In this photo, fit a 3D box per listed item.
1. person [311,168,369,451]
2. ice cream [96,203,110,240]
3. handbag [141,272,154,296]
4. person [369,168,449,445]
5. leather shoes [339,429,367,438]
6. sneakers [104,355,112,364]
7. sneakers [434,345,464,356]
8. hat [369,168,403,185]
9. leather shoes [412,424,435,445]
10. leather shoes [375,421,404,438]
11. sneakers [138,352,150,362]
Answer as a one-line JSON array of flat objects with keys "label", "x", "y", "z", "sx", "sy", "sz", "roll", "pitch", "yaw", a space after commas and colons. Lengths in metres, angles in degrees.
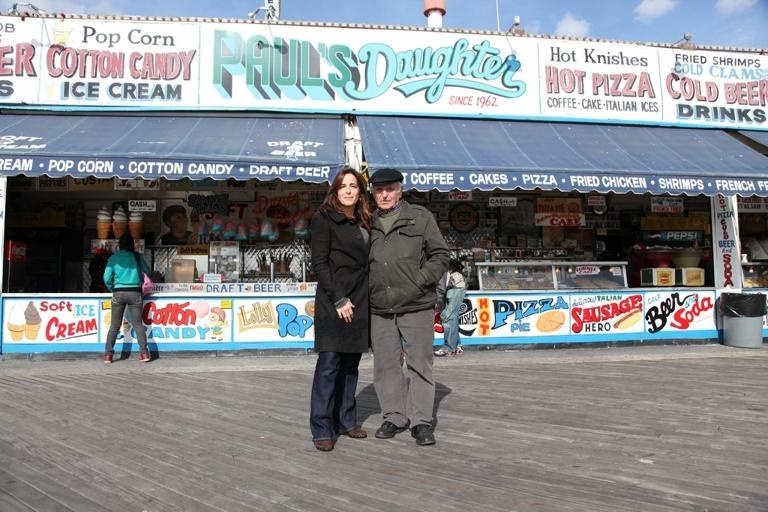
[{"label": "person", "x": -0.515, "y": 0.582, "z": 7.468, "sx": 0.709, "sy": 3.191, "sz": 0.866, "roll": 0, "pitch": 8, "yaw": 0}, {"label": "ice cream", "x": -5.789, "y": -0.714, "z": 13.059, "sx": 0.380, "sy": 0.675, "sz": 0.360, "roll": 5, "pitch": 3, "yaw": -13}, {"label": "handbag", "x": -4.335, "y": 0.502, "z": 11.556, "sx": 0.191, "sy": 0.400, "sz": 0.324, "roll": 4, "pitch": -21, "yaw": -30}, {"label": "person", "x": 0.274, "y": 0.555, "z": 7.605, "sx": 0.917, "sy": 3.181, "sz": 0.791, "roll": 0, "pitch": 8, "yaw": 3}, {"label": "leather shoes", "x": -0.346, "y": 2.132, "z": 7.662, "sx": 0.234, "sy": 0.088, "sz": 0.127, "roll": -10, "pitch": -11, "yaw": 30}, {"label": "sneakers", "x": -4.867, "y": 1.798, "z": 11.137, "sx": 0.084, "sy": 0.091, "sz": 0.221, "roll": 1, "pitch": 2, "yaw": -12}, {"label": "sneakers", "x": 1.201, "y": 1.736, "z": 11.730, "sx": 0.612, "sy": 0.263, "sz": 0.197, "roll": 3, "pitch": -4, "yaw": -11}, {"label": "hat", "x": 0.023, "y": -0.983, "z": 7.825, "sx": 0.461, "sy": 0.185, "sz": 0.531, "roll": -3, "pitch": 18, "yaw": 1}, {"label": "leather shoes", "x": 0.467, "y": 2.081, "z": 7.487, "sx": 0.272, "sy": 0.204, "sz": 0.259, "roll": -1, "pitch": 8, "yaw": -8}, {"label": "leather shoes", "x": 0.049, "y": 2.102, "z": 7.705, "sx": 0.372, "sy": 0.163, "sz": 0.144, "roll": 3, "pitch": -6, "yaw": -26}, {"label": "sneakers", "x": -4.283, "y": 1.783, "z": 11.303, "sx": 0.108, "sy": 0.110, "sz": 0.264, "roll": 1, "pitch": 4, "yaw": -14}]
